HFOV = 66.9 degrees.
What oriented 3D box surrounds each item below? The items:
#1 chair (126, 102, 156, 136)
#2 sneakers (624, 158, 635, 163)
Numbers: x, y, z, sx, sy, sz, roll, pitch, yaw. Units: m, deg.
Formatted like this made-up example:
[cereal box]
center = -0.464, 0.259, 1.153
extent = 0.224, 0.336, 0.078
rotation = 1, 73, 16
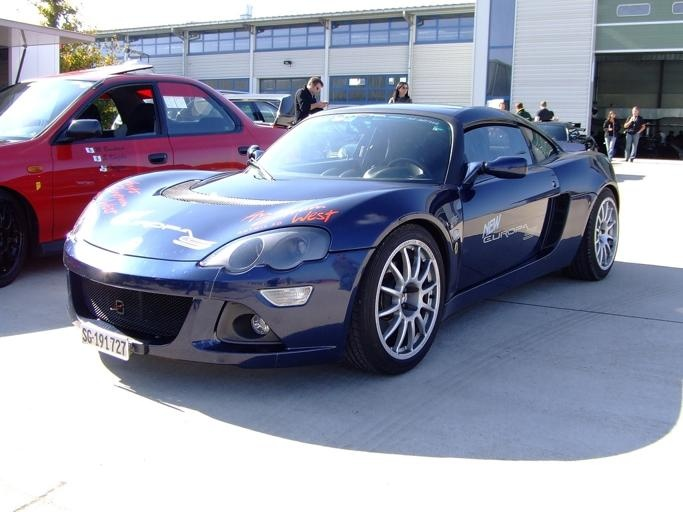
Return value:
[chair]
center = -2.040, -1.429, 5.378
extent = 0.250, 0.364, 0.380
rotation = 2, 31, -5
[sneakers]
center = 11.188, -3.688, 19.966
extent = 0.269, 0.124, 0.461
rotation = 2, 5, 26
